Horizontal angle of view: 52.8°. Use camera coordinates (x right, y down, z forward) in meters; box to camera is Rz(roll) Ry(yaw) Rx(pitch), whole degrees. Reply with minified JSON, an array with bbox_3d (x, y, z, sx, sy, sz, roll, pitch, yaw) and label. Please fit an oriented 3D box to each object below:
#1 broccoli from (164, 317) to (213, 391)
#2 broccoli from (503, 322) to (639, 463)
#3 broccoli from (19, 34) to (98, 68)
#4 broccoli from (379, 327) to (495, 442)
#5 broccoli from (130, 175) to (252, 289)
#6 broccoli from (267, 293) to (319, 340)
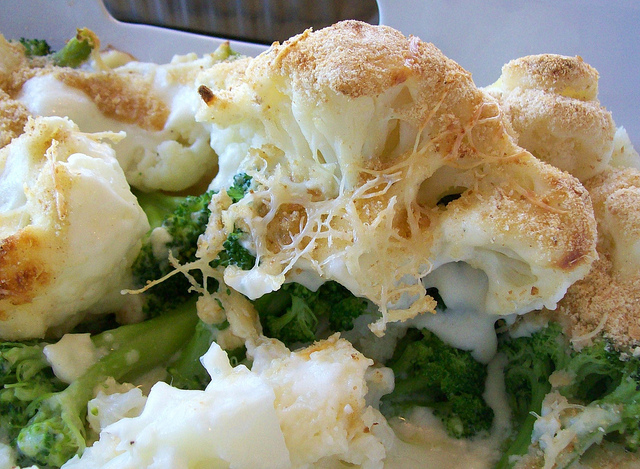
[{"bbox_3d":[-0.469,0.451,2.347,0.168,0.070,0.254,-6,66,16],"label":"broccoli"},{"bbox_3d":[0.860,0.581,2.228,0.442,0.412,0.408,16,41,11],"label":"broccoli"},{"bbox_3d":[-1.179,-0.842,2.905,0.301,0.209,0.093,19,15,17],"label":"broccoli"},{"bbox_3d":[0.435,0.542,2.354,0.274,0.397,0.424,-3,14,-22],"label":"broccoli"},{"bbox_3d":[-0.574,-0.022,2.628,0.391,0.523,0.305,8,17,32],"label":"broccoli"},{"bbox_3d":[-0.105,0.282,2.364,0.146,0.183,0.075,-11,0,-5],"label":"broccoli"}]
